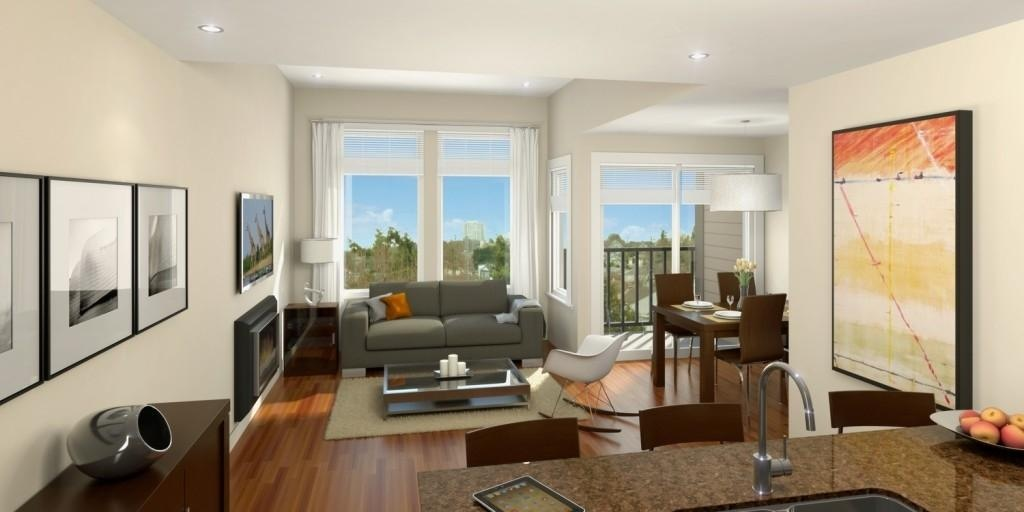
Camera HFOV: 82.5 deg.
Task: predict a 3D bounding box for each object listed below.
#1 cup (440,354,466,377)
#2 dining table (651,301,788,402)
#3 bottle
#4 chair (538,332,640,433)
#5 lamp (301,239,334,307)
[{"bbox_3d":[-0.743,1.276,6.896,0.333,0.199,0.247,1,-2,-18],"label":"cup"},{"bbox_3d":[2.404,1.059,7.171,1.321,0.828,1.184,0,1,-20],"label":"dining table"},{"bbox_3d":[-2.745,1.243,4.005,0.613,0.365,0.480,15,5,38],"label":"bottle"},{"bbox_3d":[0.851,1.360,6.778,0.935,1.009,1.058,-1,4,10],"label":"chair"},{"bbox_3d":[-2.852,0.194,8.405,0.530,0.927,0.461,-3,4,-4],"label":"lamp"}]
